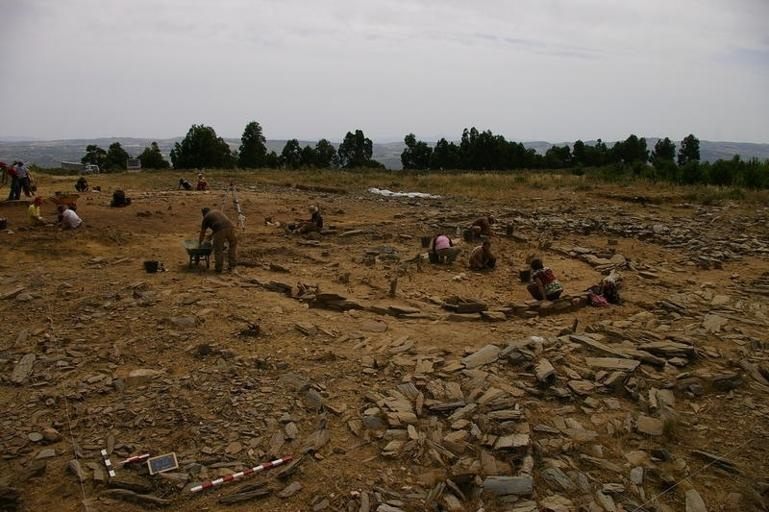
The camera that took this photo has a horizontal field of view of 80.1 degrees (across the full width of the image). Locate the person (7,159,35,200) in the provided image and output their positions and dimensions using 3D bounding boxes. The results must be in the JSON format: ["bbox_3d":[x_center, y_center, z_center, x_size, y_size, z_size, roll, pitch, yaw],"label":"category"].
[{"bbox_3d":[-14.110,-2.958,17.655,0.538,1.427,1.118,-2,9,-16],"label":"person"}]

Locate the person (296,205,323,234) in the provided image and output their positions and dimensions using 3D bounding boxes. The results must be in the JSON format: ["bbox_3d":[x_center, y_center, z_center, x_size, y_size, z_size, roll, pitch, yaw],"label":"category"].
[{"bbox_3d":[-2.506,-1.242,15.764,1.139,1.123,0.817,0,12,-13],"label":"person"}]

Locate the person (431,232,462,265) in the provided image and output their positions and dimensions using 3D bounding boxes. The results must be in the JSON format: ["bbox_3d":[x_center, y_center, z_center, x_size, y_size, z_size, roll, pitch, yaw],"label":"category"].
[{"bbox_3d":[1.715,-0.202,12.823,0.960,1.201,0.828,-1,-8,16],"label":"person"}]

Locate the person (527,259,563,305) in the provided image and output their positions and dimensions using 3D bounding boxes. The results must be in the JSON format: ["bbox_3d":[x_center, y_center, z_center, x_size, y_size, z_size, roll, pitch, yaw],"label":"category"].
[{"bbox_3d":[3.641,0.619,10.449,0.841,1.005,0.745,-13,3,10],"label":"person"}]

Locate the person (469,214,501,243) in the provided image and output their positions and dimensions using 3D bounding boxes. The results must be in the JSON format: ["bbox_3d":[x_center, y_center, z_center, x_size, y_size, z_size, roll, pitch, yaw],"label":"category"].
[{"bbox_3d":[3.217,-0.935,15.290,1.086,0.781,0.809,-4,9,-28],"label":"person"}]

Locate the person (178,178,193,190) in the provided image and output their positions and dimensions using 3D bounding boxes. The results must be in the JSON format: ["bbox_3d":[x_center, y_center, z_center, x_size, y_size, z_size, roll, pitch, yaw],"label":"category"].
[{"bbox_3d":[-11.089,-3.987,25.448,0.546,0.686,1.784,-3,9,-24],"label":"person"}]

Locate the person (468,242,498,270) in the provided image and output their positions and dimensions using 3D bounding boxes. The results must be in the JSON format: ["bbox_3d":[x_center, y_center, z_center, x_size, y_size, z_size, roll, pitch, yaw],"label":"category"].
[{"bbox_3d":[2.611,-0.009,12.234,0.688,0.762,0.316,2,9,10],"label":"person"}]
